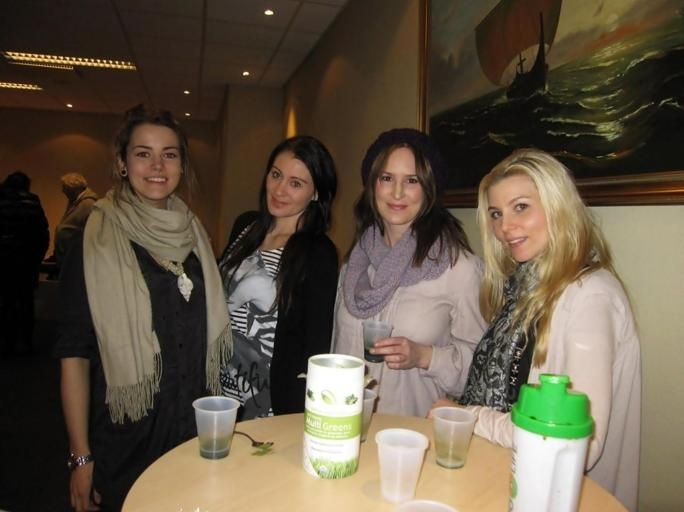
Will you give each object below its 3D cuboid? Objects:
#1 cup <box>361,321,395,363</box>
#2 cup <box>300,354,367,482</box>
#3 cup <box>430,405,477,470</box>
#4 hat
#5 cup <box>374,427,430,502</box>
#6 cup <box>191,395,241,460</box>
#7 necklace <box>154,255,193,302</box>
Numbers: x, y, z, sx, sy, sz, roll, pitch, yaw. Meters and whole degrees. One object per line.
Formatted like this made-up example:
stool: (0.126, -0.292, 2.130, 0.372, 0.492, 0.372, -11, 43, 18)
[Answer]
cup: (0.152, 0.367, 2.016, 0.153, 0.172, 0.161, 2, -10, 0)
cup: (-0.023, 0.477, 1.401, 0.176, 0.310, 0.176, 3, 4, 0)
cup: (0.347, 0.556, 1.514, 0.149, 0.171, 0.156, 1, 0, 0)
hat: (0.335, -0.474, 2.357, 0.373, 0.486, 0.166, 6, 31, 13)
cup: (0.157, 0.574, 1.285, 0.156, 0.178, 0.161, 4, 3, 0)
cup: (-0.400, 0.538, 1.471, 0.144, 0.164, 0.153, 3, 1, 0)
necklace: (-0.716, 0.060, 2.041, 0.089, 0.257, 0.025, -21, 19, -4)
